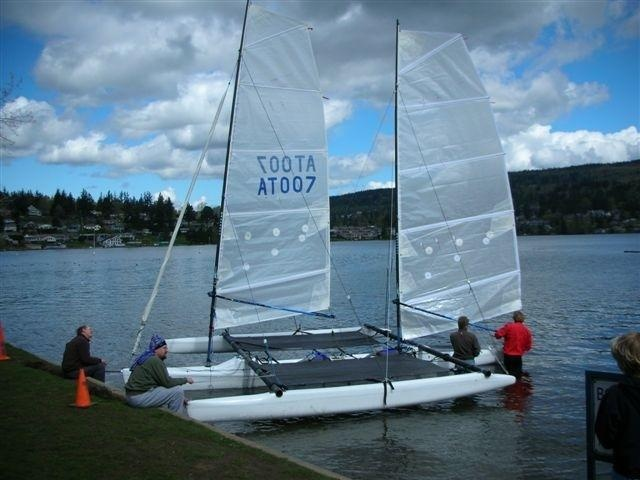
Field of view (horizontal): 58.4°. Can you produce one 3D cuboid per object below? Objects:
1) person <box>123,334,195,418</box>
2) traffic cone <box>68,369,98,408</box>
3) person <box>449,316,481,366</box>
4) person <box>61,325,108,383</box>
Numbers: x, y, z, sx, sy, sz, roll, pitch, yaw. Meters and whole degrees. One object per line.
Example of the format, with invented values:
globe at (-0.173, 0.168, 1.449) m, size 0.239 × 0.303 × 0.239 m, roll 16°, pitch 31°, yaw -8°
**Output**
person at (-3.928, 3.249, 13.898) m, size 1.362 × 1.754 × 0.585 m, roll 10°, pitch 7°, yaw -15°
traffic cone at (-5.695, 3.490, 13.969) m, size 0.402 × 0.985 × 0.846 m, roll 10°, pitch 6°, yaw -21°
person at (4.549, 3.077, 17.732) m, size 0.898 × 1.172 × 0.469 m, roll 15°, pitch 6°, yaw 28°
person at (-6.542, 3.264, 15.904) m, size 1.340 × 1.669 × 1.098 m, roll 6°, pitch -11°, yaw -25°
